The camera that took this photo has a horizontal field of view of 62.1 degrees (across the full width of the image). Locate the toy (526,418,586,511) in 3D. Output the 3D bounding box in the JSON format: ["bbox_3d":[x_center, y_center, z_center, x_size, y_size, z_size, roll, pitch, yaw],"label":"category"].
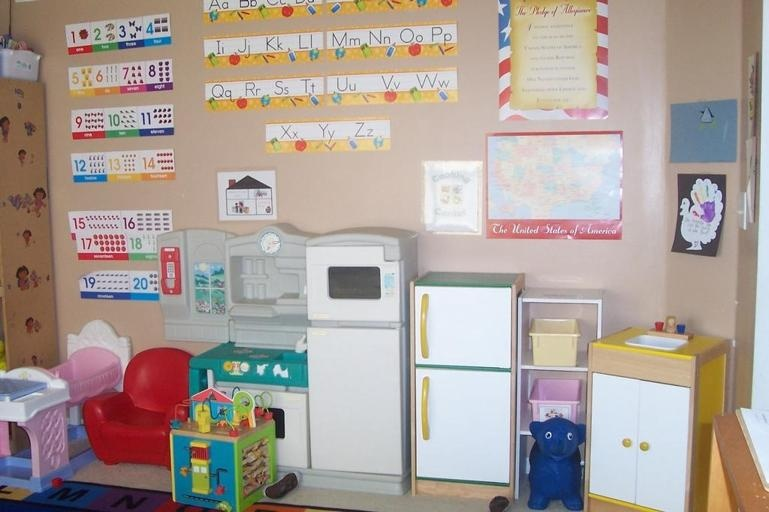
[{"bbox_3d":[1.030,1.239,3.964,0.380,0.574,0.552,1,1,12],"label":"toy"}]
